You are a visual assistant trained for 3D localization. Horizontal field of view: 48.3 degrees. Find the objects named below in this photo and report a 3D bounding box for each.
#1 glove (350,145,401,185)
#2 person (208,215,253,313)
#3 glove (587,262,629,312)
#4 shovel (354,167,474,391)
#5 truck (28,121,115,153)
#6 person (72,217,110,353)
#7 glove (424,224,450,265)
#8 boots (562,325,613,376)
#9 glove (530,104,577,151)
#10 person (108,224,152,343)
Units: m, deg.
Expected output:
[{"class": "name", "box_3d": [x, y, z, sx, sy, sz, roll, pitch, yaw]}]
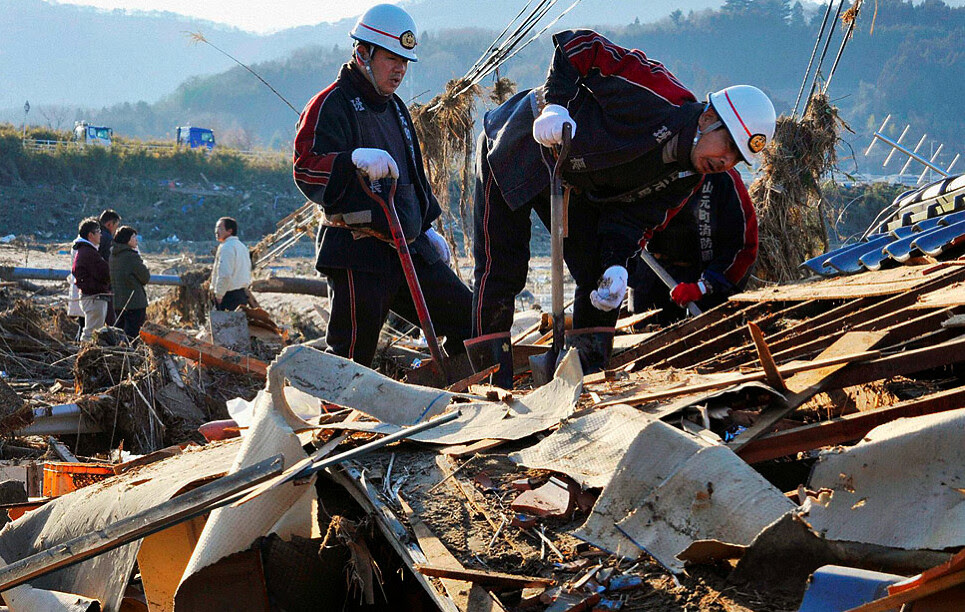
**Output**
[{"class": "glove", "box_3d": [-0.838, -1.085, 8.329, 0.355, 0.259, 0.192, 0, 9, -9]}, {"class": "person", "box_3d": [-2.878, -0.461, 12.267, 0.436, 1.020, 0.710, -1, 9, -15]}, {"class": "glove", "box_3d": [0.944, -0.133, 8.102, 0.236, 0.340, 0.131, 26, -4, -3]}, {"class": "shovel", "box_3d": [-0.547, -0.163, 8.436, 0.579, 2.115, 0.273, -17, 11, -2]}, {"class": "truck", "box_3d": [-12.533, -5.242, 32.904, 2.551, 1.324, 1.138, -2, 3, -32]}, {"class": "person", "box_3d": [-4.510, -0.218, 12.670, 0.507, 1.582, 0.474, -12, 24, -40]}, {"class": "glove", "box_3d": [-0.374, -0.483, 8.933, 0.109, 0.286, 0.209, -33, 5, 17]}, {"class": "boots", "box_3d": [0.816, 0.338, 8.195, 0.387, 0.437, 0.255, -3, -3, 9]}, {"class": "glove", "box_3d": [0.497, -1.309, 7.875, 0.243, 0.332, 0.138, -1, -13, 41]}, {"class": "person", "box_3d": [-4.036, -0.266, 12.301, 0.409, 1.222, 0.529, -2, 9, -20]}]
